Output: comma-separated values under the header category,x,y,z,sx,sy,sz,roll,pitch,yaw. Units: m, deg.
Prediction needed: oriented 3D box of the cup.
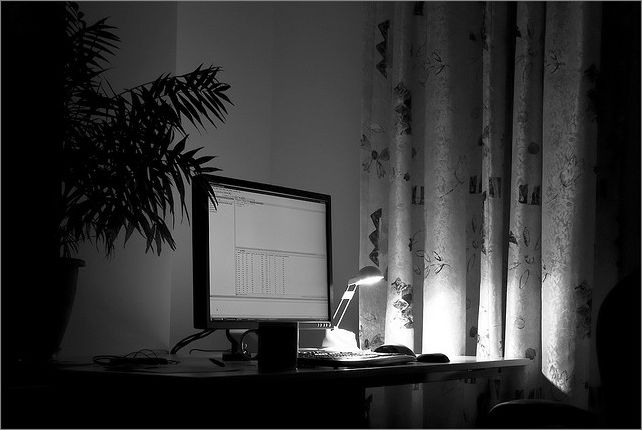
category,x,y,z,sx,sy,sz,roll,pitch,yaw
cup,-0.149,0.371,1.533,0.155,0.145,0.096,2,8,1

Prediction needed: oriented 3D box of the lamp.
category,x,y,z,sx,sy,sz,roll,pitch,yaw
lamp,0.130,0.376,2.173,0.229,0.347,0.156,-4,3,2

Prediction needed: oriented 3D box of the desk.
category,x,y,z,sx,sy,sz,roll,pitch,yaw
desk,-0.096,0.569,1.700,1.304,0.233,0.546,12,-19,-34
